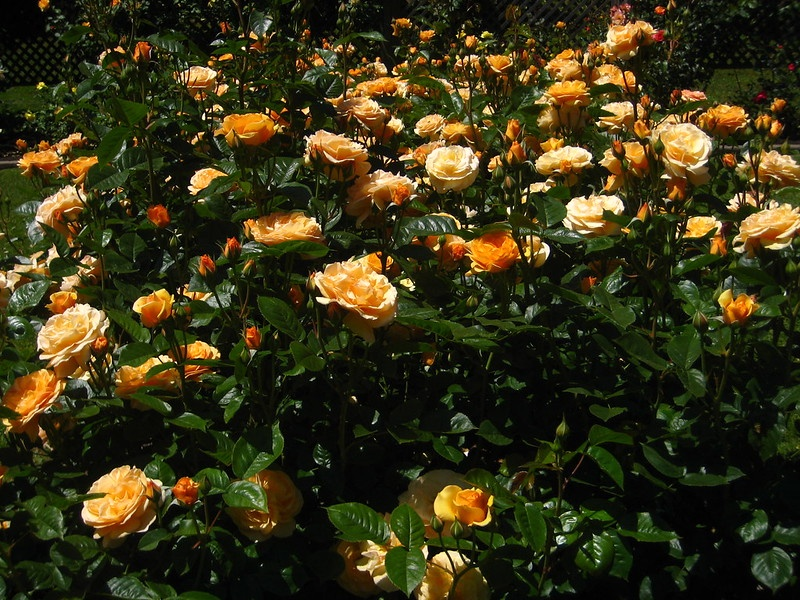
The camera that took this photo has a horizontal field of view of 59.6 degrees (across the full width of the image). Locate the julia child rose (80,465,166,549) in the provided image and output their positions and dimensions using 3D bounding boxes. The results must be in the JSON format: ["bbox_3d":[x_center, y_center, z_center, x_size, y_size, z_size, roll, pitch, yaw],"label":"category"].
[{"bbox_3d":[-0.576,0.440,1.529,0.165,0.099,0.159,-32,43,-10],"label":"julia child rose"}]

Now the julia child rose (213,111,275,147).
[{"bbox_3d":[-0.400,-0.436,1.771,0.102,0.062,0.103,-4,34,1],"label":"julia child rose"}]

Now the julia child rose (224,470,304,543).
[{"bbox_3d":[-0.304,0.450,1.605,0.156,0.087,0.184,-11,5,20],"label":"julia child rose"}]

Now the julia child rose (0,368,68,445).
[{"bbox_3d":[-0.828,0.268,1.626,0.141,0.093,0.152,-40,29,13],"label":"julia child rose"}]

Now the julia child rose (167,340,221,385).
[{"bbox_3d":[-0.497,0.137,1.688,0.109,0.065,0.105,27,34,31],"label":"julia child rose"}]
